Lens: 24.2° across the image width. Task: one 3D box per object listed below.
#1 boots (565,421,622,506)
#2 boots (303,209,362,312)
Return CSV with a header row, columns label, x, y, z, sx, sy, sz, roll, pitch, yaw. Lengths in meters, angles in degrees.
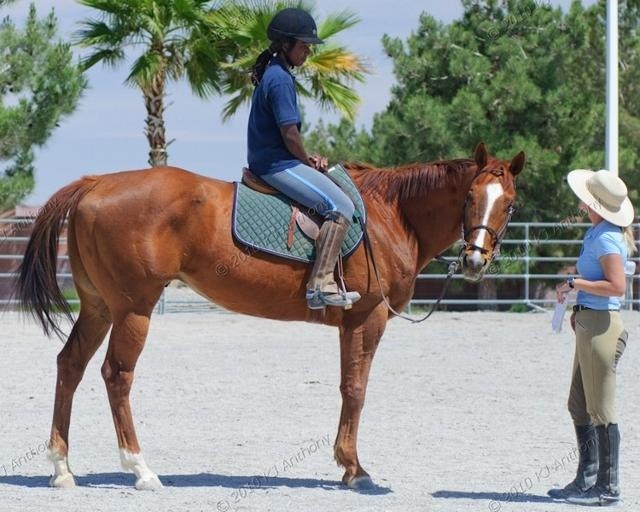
label,x,y,z,sx,sy,sz,roll,pitch,yaw
boots,3.795,2.822,20.292,0.668,1.076,0.496,1,15,0
boots,0.162,0.112,20.468,0.711,1.282,0.343,1,14,1
